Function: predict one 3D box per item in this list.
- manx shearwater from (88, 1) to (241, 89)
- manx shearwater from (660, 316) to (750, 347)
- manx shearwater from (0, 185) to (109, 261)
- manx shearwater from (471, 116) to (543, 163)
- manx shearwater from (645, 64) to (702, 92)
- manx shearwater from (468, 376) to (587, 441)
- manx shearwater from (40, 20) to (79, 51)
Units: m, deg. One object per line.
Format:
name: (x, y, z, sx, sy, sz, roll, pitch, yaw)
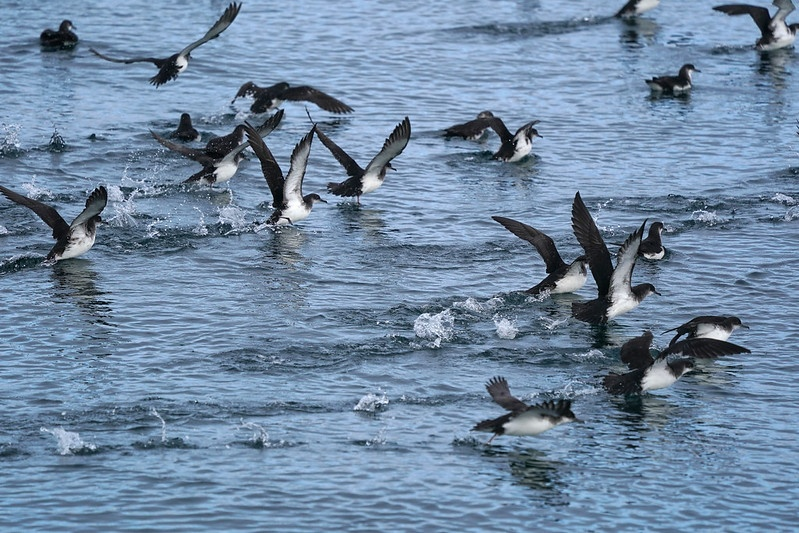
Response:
manx shearwater: (-6.811, -6.226, 36.648, 4.891, 1.898, 1.157, -9, 95, 32)
manx shearwater: (6.009, 1.201, 25.035, 1.160, 0.821, 0.304, 3, 92, 7)
manx shearwater: (-6.884, -0.778, 26.674, 2.564, 2.098, 1.051, 12, 105, 44)
manx shearwater: (2.819, -3.182, 32.804, 1.459, 1.538, 0.775, 28, 118, 48)
manx shearwater: (7.856, -5.428, 37.526, 1.994, 0.637, 0.840, -3, 104, -12)
manx shearwater: (2.098, 2.536, 21.822, 1.472, 1.449, 0.680, 17, 77, -7)
manx shearwater: (-9.822, -6.623, 36.904, 1.459, 0.735, 0.685, 6, 86, -14)
